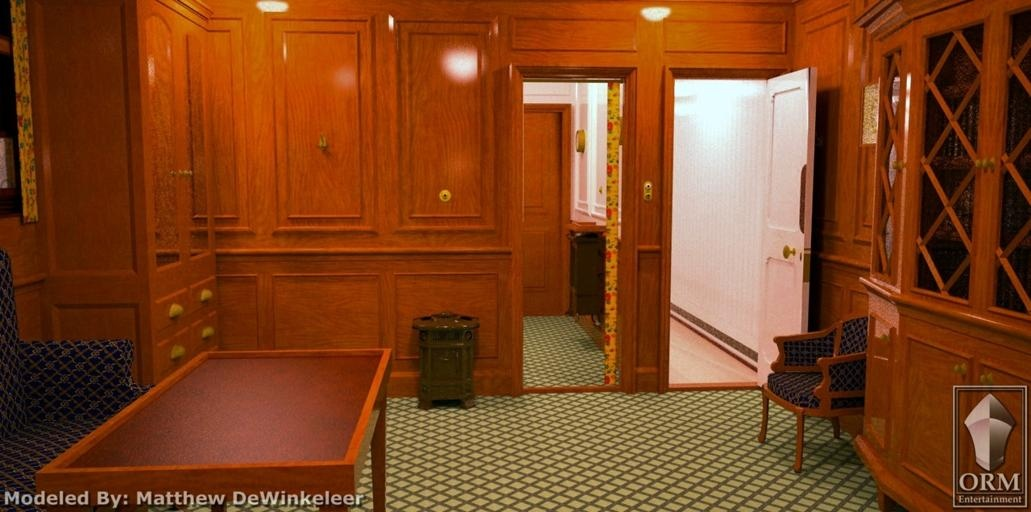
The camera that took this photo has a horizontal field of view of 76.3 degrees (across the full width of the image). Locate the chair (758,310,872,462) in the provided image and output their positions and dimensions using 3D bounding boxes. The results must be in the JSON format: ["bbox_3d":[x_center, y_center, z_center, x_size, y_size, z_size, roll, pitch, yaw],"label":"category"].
[{"bbox_3d":[2.944,1.222,6.319,1.076,1.133,0.941,-7,7,-12],"label":"chair"}]

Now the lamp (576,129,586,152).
[{"bbox_3d":[1.004,-1.828,10.277,0.139,0.339,0.381,-1,-1,0],"label":"lamp"}]

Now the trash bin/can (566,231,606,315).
[{"bbox_3d":[1.030,0.278,9.538,0.479,1.261,0.562,-2,10,5],"label":"trash bin/can"}]

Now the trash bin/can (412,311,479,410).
[{"bbox_3d":[-0.759,1.153,7.229,0.699,0.977,0.328,-4,10,-7],"label":"trash bin/can"}]
